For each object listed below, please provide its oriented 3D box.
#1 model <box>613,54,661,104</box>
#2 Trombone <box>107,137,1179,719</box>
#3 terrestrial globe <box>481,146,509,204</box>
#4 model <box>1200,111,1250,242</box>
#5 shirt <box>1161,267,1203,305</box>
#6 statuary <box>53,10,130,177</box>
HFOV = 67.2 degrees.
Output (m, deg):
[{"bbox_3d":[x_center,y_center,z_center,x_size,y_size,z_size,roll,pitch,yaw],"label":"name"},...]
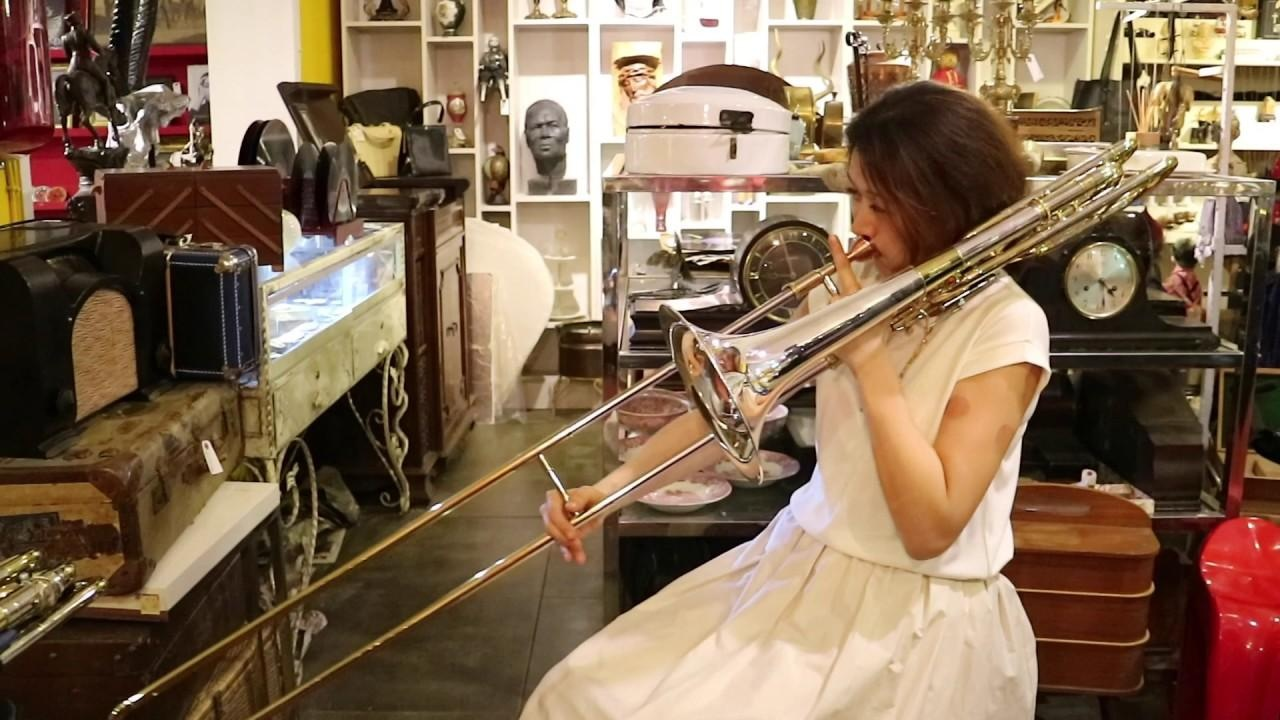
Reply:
[{"bbox_3d":[-0.005,-1.718,6.041,0.291,0.294,0.267,-10,-10,25],"label":"model"},{"bbox_3d":[-0.022,0.230,2.851,3.791,0.319,0.550,-30,1,-4],"label":"Trombone"},{"bbox_3d":[-0.895,-1.181,6.078,0.230,0.361,0.204,0,9,-3],"label":"terrestrial globe"},{"bbox_3d":[1.774,-0.543,2.911,0.132,0.426,0.121,-2,12,41],"label":"model"},{"bbox_3d":[1.667,-0.230,3.005,0.116,0.109,0.107,4,20,-10],"label":"shirt"},{"bbox_3d":[-1.847,-0.867,3.220,0.187,0.504,0.806,-5,13,-30],"label":"statuary"}]
